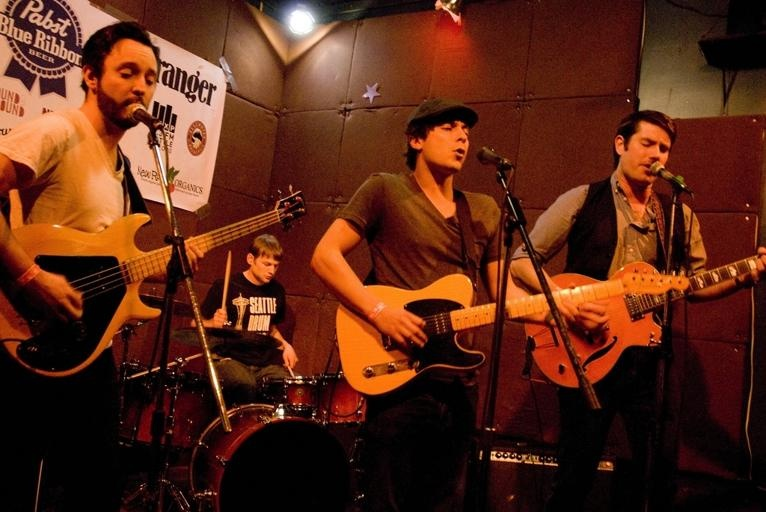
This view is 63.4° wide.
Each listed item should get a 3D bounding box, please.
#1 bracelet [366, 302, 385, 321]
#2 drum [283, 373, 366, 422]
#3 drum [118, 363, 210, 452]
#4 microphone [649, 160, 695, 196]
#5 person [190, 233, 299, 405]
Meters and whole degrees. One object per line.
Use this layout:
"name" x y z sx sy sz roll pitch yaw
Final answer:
"bracelet" -0.042 0.326 3.625 0.027 0.091 0.091 39 -7 8
"drum" -0.489 1.143 4.953 0.396 0.218 0.561 5 -7 -20
"drum" -1.663 1.189 4.863 0.699 0.533 0.650 3 -5 0
"microphone" 1.937 -0.539 4.187 0.202 0.299 0.380 0 -8 19
"person" -1.246 0.601 5.495 0.622 1.429 0.713 26 -50 -27
